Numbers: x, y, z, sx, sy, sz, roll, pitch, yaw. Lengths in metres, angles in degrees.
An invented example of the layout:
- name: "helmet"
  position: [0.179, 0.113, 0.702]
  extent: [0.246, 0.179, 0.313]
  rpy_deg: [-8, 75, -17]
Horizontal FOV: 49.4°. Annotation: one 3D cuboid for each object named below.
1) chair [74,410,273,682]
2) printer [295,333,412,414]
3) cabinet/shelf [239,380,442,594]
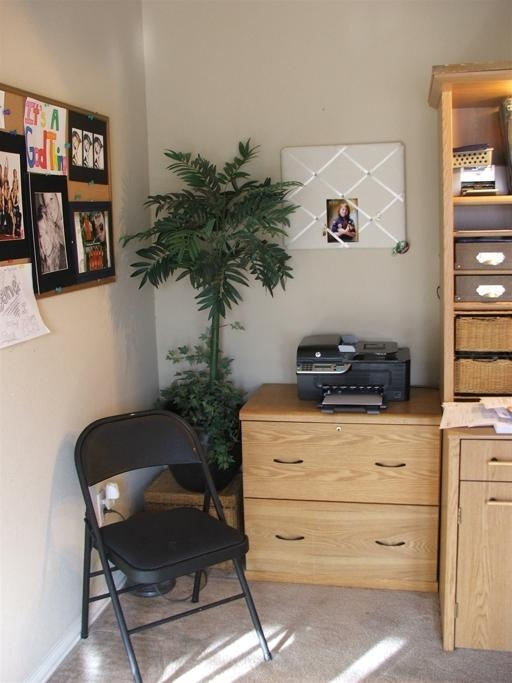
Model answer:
- name: "chair"
  position: [-0.318, 0.672, 1.924]
  extent: [0.543, 0.808, 0.607]
  rpy_deg: [-5, 8, -31]
- name: "printer"
  position: [0.397, 0.062, 2.340]
  extent: [0.397, 0.221, 0.299]
  rpy_deg: [1, 11, 11]
- name: "cabinet/shelf"
  position: [0.374, 0.607, 2.480]
  extent: [0.817, 0.761, 0.497]
  rpy_deg: [0, 14, 7]
